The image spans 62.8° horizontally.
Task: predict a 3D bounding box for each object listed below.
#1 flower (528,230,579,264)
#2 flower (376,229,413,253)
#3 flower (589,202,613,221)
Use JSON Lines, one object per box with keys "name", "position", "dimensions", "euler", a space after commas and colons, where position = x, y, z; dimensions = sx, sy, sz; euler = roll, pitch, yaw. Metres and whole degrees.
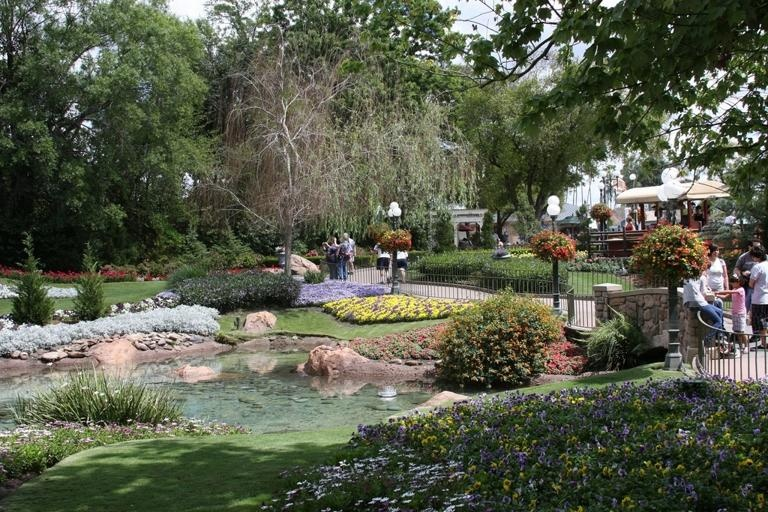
{"name": "flower", "position": [4.996, -0.296, 18.942], "dimensions": [0.958, 0.772, 1.012], "euler": [1, 0, -2]}
{"name": "flower", "position": [0.455, -0.580, 23.993], "dimensions": [1.012, 0.853, 1.209], "euler": [-8, 5, -28]}
{"name": "flower", "position": [11.770, -2.375, 34.264], "dimensions": [0.966, 1.035, 2.078], "euler": [-4, 4, 16]}
